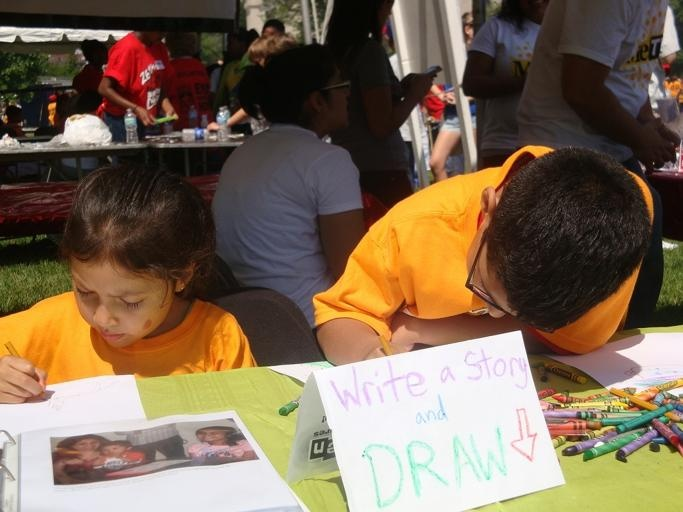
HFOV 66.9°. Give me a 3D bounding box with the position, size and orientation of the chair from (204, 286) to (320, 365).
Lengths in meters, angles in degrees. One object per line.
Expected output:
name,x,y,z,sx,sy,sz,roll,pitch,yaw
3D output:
chair,-0.260,0.237,1.636,0.329,0.168,0.445,-4,16,-17

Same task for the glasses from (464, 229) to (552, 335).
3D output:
glasses,0.383,0.058,1.230,0.206,0.216,0.056,26,-22,-38

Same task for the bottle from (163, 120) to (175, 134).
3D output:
bottle,-1.866,-1.416,5.698,0.143,0.157,0.144,0,-4,-12
